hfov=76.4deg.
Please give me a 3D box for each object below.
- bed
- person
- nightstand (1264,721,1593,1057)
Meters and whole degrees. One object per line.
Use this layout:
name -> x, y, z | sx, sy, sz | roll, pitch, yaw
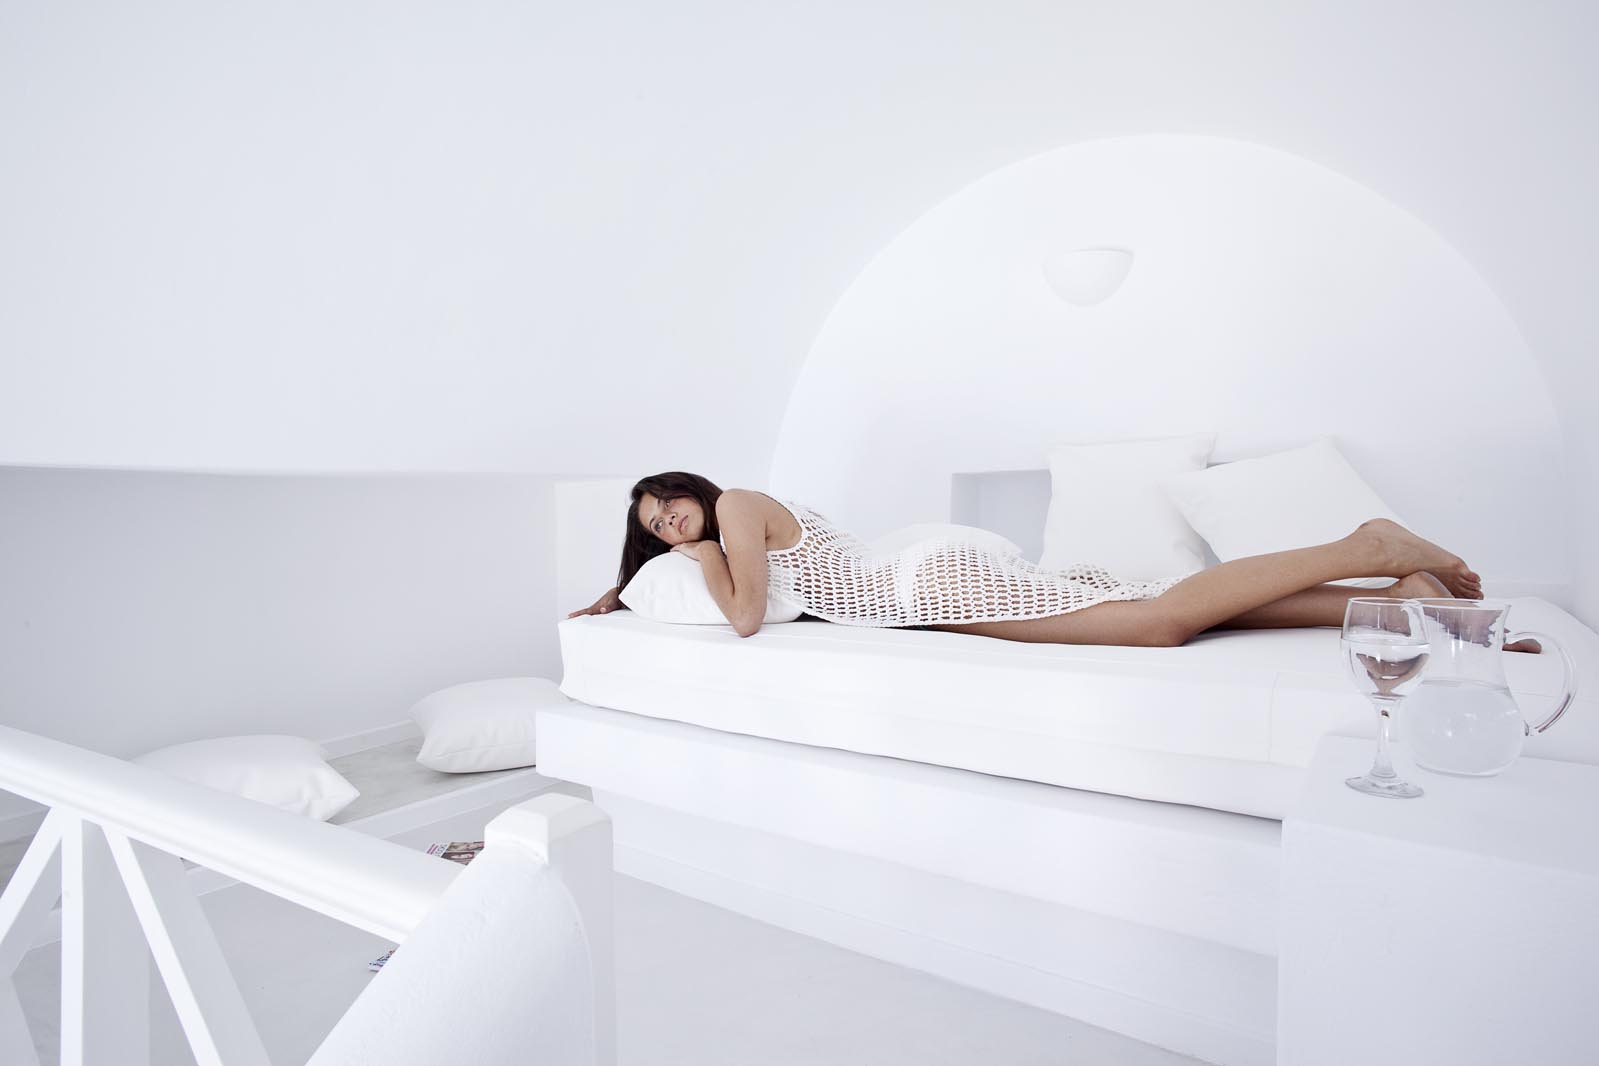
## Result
bed -> 0.541, 0.465, 2.360 | 1.920, 0.594, 1.127 | 2, 5, 36
person -> 0.508, 0.132, 2.647 | 2.317, 0.386, 0.905 | -3, 2, 22
nightstand -> 1.113, 0.641, 1.947 | 0.515, 0.456, 0.484 | -1, -4, 15
